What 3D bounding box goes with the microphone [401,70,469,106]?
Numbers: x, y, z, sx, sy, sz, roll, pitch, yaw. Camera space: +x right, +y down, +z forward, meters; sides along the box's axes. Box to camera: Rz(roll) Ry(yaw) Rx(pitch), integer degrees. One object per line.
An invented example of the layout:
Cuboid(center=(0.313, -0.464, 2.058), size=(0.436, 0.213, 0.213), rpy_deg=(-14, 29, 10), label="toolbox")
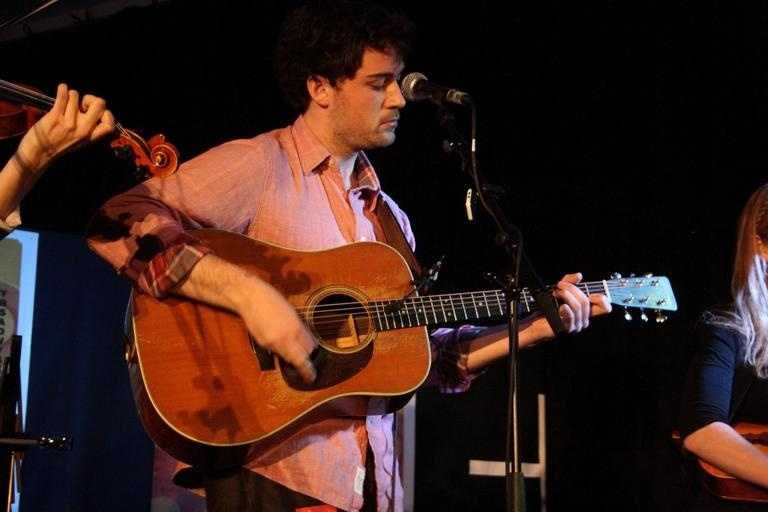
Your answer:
Cuboid(center=(0.275, -0.927, 4.378), size=(0.514, 0.164, 0.161), rpy_deg=(11, -24, 48), label="microphone")
